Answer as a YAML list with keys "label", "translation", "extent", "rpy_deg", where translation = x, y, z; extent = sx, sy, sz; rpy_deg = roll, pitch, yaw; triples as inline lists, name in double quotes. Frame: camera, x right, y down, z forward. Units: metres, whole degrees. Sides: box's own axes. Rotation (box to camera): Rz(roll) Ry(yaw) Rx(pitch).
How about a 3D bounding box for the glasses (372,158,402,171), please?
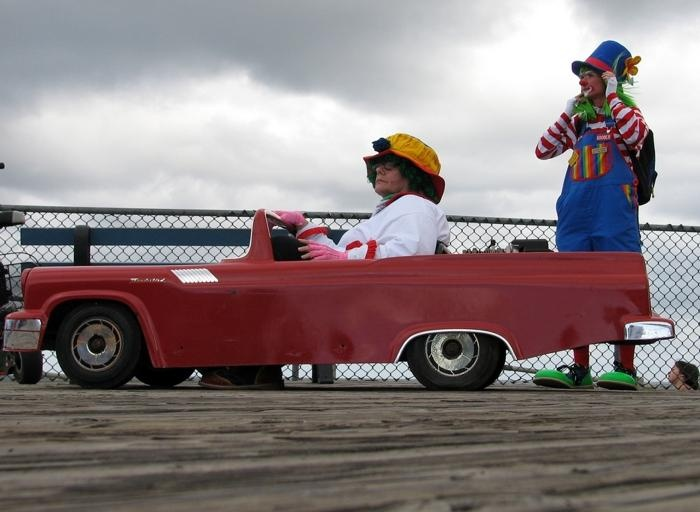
- label: "glasses"
  translation: [0.170, -0.423, 4.248]
  extent: [0.079, 0.032, 0.076]
  rpy_deg: [-5, -1, 39]

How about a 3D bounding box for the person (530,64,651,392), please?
- label: "person"
  translation: [1.143, -0.190, 4.211]
  extent: [0.548, 1.643, 0.523]
  rpy_deg: [-5, -19, 30]

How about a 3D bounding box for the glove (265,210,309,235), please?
- label: "glove"
  translation: [-0.287, -0.149, 4.015]
  extent: [0.216, 0.090, 0.157]
  rpy_deg: [12, -15, -17]

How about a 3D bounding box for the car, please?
- label: "car"
  translation: [-0.113, 0.039, 4.054]
  extent: [2.418, 0.726, 1.072]
  rpy_deg: [1, -7, 1]

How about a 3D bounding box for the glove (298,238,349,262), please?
- label: "glove"
  translation: [-0.123, -0.023, 3.854]
  extent: [0.152, 0.098, 0.043]
  rpy_deg: [0, -40, 1]

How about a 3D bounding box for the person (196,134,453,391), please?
- label: "person"
  translation: [-0.112, 0.011, 4.103]
  extent: [1.136, 1.251, 0.721]
  rpy_deg: [7, -10, -18]
